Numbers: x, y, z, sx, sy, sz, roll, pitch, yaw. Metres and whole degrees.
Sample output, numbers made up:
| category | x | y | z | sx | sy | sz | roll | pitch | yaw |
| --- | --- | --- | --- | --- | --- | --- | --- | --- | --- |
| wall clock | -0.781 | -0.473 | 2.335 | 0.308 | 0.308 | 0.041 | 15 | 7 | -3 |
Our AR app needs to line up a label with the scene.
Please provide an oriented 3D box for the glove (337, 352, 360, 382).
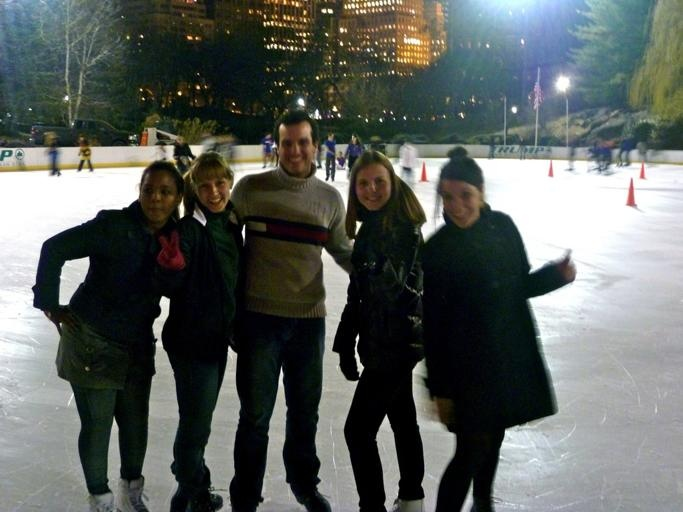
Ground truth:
| category | x | y | z | sx | sy | sz | roll | pitch | yaw |
| --- | --- | --- | --- | --- | --- | --- | --- | --- | --- |
| glove | 0.021 | 0.579 | 3.355 | 0.084 | 0.174 | 0.157 | -1 | -4 | -5 |

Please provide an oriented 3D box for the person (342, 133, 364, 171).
| category | x | y | z | sx | sy | sz | roll | pitch | yaw |
| --- | --- | --- | --- | --- | --- | --- | --- | --- | --- |
| person | 0.366 | -3.121 | 19.749 | 0.524 | 1.429 | 0.407 | 6 | 33 | 2 |

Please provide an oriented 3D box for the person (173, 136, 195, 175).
| category | x | y | z | sx | sy | sz | roll | pitch | yaw |
| --- | --- | --- | --- | --- | --- | --- | --- | --- | --- |
| person | -4.256 | -2.547 | 17.195 | 0.473 | 1.591 | 0.400 | -3 | -20 | -28 |

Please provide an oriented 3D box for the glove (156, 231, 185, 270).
| category | x | y | z | sx | sy | sz | roll | pitch | yaw |
| --- | --- | --- | --- | --- | --- | --- | --- | --- | --- |
| glove | -0.828 | -0.030 | 3.081 | 0.124 | 0.172 | 0.134 | -2 | 11 | -13 |
